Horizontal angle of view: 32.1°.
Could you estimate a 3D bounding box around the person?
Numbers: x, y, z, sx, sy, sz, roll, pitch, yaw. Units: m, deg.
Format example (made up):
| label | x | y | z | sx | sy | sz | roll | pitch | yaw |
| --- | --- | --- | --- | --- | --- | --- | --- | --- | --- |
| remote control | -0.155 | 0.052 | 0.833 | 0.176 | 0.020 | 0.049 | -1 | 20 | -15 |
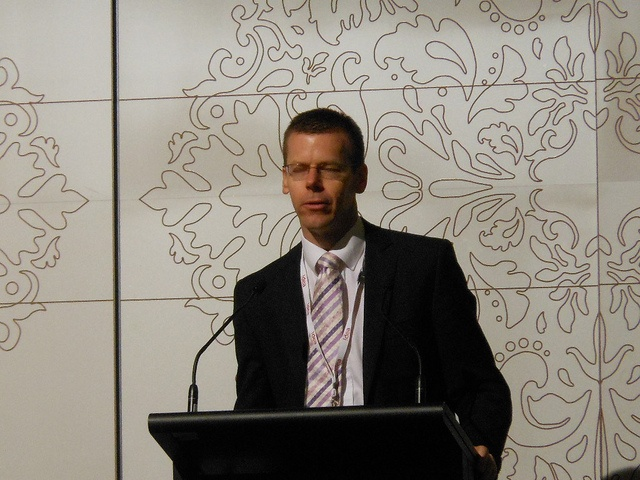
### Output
| label | x | y | z | sx | sy | sz | roll | pitch | yaw |
| --- | --- | --- | --- | --- | --- | --- | --- | --- | --- |
| person | 0.217 | 0.199 | 3.926 | 0.787 | 1.905 | 0.631 | -8 | -24 | 16 |
